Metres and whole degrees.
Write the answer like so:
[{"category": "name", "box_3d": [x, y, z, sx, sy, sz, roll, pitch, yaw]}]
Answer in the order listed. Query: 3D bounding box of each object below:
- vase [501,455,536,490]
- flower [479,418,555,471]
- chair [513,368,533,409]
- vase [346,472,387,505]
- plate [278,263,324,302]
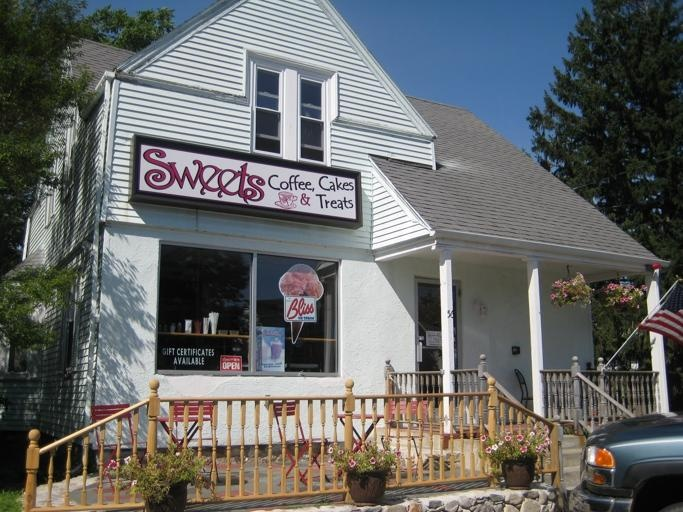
[{"category": "vase", "box_3d": [2.850, 3.479, 11.035, 0.458, 0.399, 0.497, 2, -23, 0]}, {"category": "flower", "box_3d": [2.818, 3.151, 11.214, 1.069, 0.637, 0.545, -3, -15, 10]}, {"category": "chair", "box_3d": [4.382, 3.185, 16.537, 0.470, 0.898, 0.274, 12, -18, -40]}, {"category": "vase", "box_3d": [0.378, 3.421, 10.090, 0.460, 0.329, 0.469, -14, -24, 38]}, {"category": "plate", "box_3d": [-0.855, 0.544, 14.520, 0.748, 0.845, 0.227, 11, -20, -22]}]
